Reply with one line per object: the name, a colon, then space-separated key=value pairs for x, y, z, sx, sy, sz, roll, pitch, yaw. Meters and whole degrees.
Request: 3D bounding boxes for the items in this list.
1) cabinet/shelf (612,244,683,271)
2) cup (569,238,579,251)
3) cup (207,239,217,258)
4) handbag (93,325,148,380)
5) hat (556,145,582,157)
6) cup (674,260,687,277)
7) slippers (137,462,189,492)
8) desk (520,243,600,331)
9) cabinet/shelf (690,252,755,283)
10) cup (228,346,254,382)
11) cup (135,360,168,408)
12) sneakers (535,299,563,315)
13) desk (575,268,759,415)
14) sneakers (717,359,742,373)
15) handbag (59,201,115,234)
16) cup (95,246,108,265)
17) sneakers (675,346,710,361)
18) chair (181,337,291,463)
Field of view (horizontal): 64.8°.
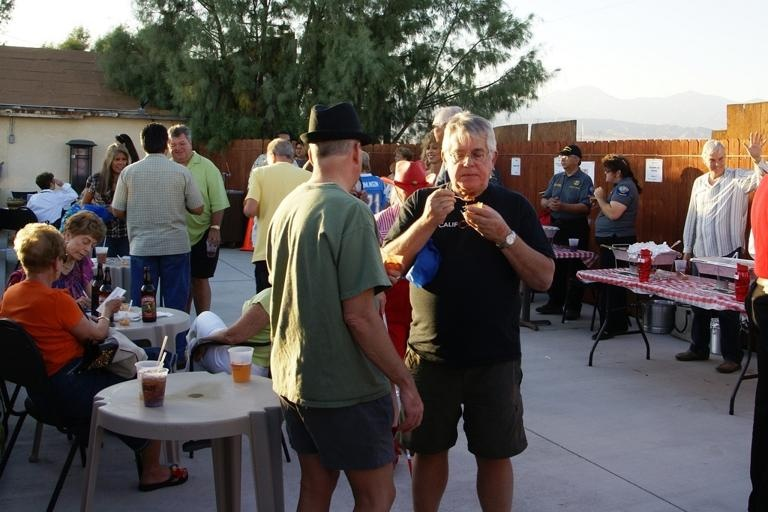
cabinet/shelf: x=3.172 y=0.013 z=7.356 sx=0.281 sy=0.171 sz=0.500 roll=-3 pitch=10 yaw=-18
cup: x=2.696 y=-0.172 z=8.668 sx=0.174 sy=0.191 sz=0.171 roll=1 pitch=6 yaw=0
cup: x=-2.027 y=-0.101 z=7.090 sx=0.130 sy=0.159 sz=0.099 roll=20 pitch=32 yaw=-8
handbag: x=-1.864 y=0.688 z=4.395 sx=0.298 sy=0.146 sz=0.396 roll=26 pitch=5 yaw=14
hat: x=2.826 y=-1.584 z=9.232 sx=0.325 sy=0.192 sz=0.240 roll=2 pitch=3 yaw=1
cup: x=3.421 y=0.139 z=7.001 sx=0.150 sy=0.195 sz=0.150 roll=-1 pitch=14 yaw=0
slippers: x=-1.653 y=1.644 z=4.557 sx=0.253 sy=0.096 sz=0.148 roll=-5 pitch=8 yaw=-26
desk: x=2.549 y=0.447 z=9.055 sx=1.388 sy=1.077 sz=1.396 roll=-1 pitch=6 yaw=-19
cabinet/shelf: x=3.518 y=0.109 z=6.413 sx=0.325 sy=0.136 sz=0.488 roll=-4 pitch=12 yaw=-15
cup: x=-0.931 y=0.700 z=4.037 sx=0.195 sy=0.212 sz=0.200 roll=0 pitch=3 yaw=0
cup: x=-1.372 y=0.757 z=3.727 sx=0.231 sy=0.280 sz=0.256 roll=2 pitch=-1 yaw=1
sneakers: x=2.614 y=0.807 z=9.546 sx=0.482 sy=0.208 sz=0.170 roll=2 pitch=1 yaw=16
desk: x=3.292 y=0.804 z=6.774 sx=1.441 sy=1.182 sz=2.079 roll=-3 pitch=7 yaw=-24
sneakers: x=3.964 y=1.242 z=6.945 sx=0.311 sy=0.117 sz=0.120 roll=-2 pitch=-2 yaw=-33
handbag: x=-2.958 y=-0.388 z=6.076 sx=0.532 sy=0.245 sz=0.547 roll=0 pitch=8 yaw=8
cup: x=-3.023 y=-0.003 z=6.459 sx=0.181 sy=0.210 sz=0.190 roll=2 pitch=5 yaw=0
sneakers: x=3.734 y=1.188 z=7.391 sx=0.424 sy=0.190 sz=0.161 roll=2 pitch=-3 yaw=3
chair: x=-1.066 y=1.052 z=4.928 sx=0.978 sy=0.994 sz=1.039 roll=3 pitch=3 yaw=-1
